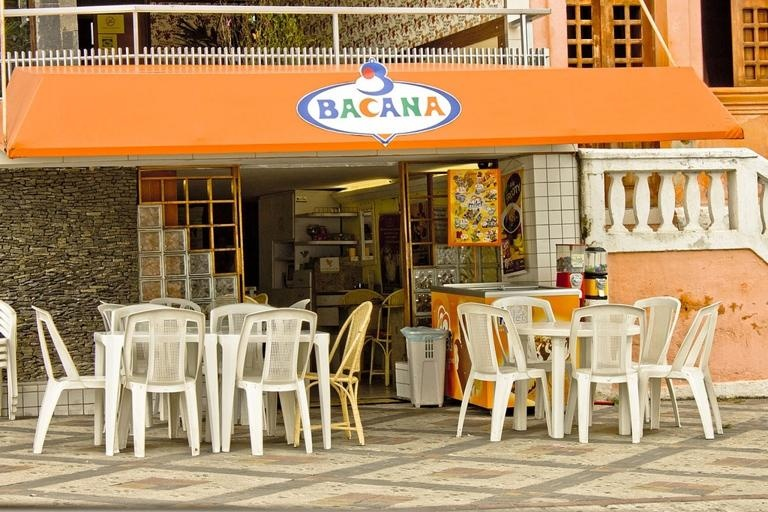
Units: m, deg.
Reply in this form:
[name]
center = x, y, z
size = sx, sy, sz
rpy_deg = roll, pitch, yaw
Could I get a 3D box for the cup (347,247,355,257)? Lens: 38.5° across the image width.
[cup]
center = -0.559, -0.069, 18.533
size = 0.148, 0.145, 0.138
rpy_deg = 0, -4, 0

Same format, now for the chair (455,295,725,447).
[chair]
center = 2.435, 1.274, 12.045
size = 2.511, 1.480, 1.060
rpy_deg = -2, -3, 8
